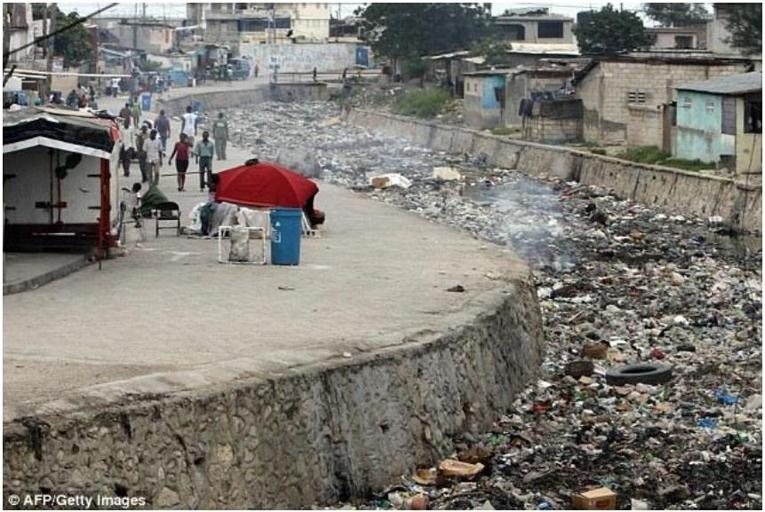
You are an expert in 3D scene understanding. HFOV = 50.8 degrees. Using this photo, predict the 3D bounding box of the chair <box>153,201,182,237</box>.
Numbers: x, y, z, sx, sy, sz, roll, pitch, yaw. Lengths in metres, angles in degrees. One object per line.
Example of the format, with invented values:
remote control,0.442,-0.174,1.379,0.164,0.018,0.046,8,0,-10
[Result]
chair,-5.555,-0.947,20.843,0.692,0.935,0.703,-3,3,-30

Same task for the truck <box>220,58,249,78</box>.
truck,-16.169,-19.884,85.249,2.628,1.499,1.870,4,11,27
